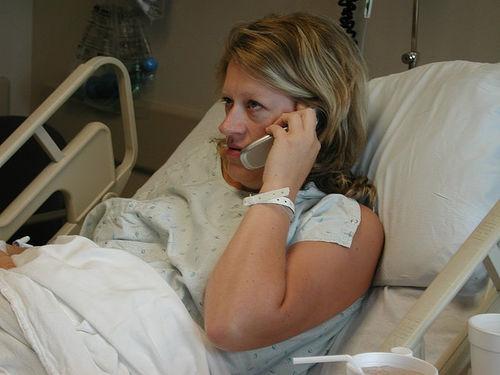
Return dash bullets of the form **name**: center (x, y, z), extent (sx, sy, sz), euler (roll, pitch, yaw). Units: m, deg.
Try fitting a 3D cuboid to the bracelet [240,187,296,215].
- **bracelet**: center (0.052, 0.026, 1.159), extent (0.136, 0.070, 0.043), euler (10, 11, -1)
